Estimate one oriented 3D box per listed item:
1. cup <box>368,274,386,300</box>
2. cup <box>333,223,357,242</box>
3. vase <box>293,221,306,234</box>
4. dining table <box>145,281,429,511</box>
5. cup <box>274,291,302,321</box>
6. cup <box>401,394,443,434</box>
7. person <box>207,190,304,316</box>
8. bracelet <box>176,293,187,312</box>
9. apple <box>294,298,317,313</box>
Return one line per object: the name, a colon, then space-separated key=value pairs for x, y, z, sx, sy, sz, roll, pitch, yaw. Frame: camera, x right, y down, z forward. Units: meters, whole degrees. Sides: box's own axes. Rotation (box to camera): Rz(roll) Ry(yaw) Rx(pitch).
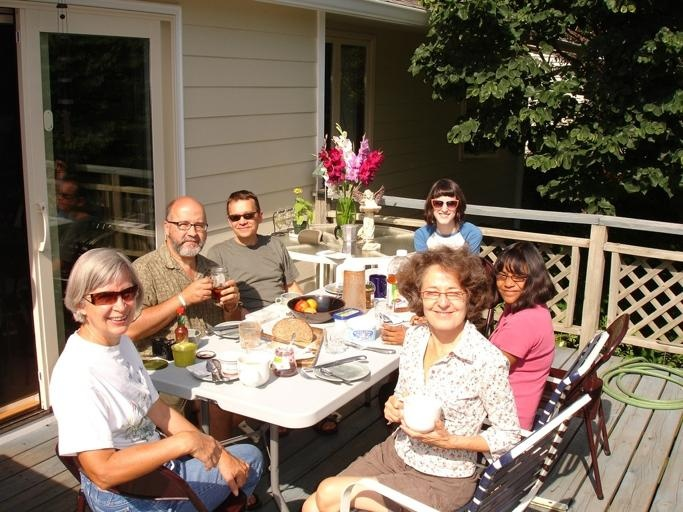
cup: x=0.277 y=0.220 z=3.585 sx=0.107 sy=0.165 sz=0.153 roll=2 pitch=4 yaw=20
cup: x=0.066 y=-0.218 z=4.527 sx=0.154 sy=0.176 sz=0.225 roll=-3 pitch=6 yaw=-29
vase: x=-0.435 y=-0.311 z=5.274 sx=0.113 sy=0.108 sz=0.128 roll=1 pitch=1 yaw=2
dining table: x=-0.186 y=0.609 z=2.412 sx=1.231 sy=0.353 sz=0.805 roll=18 pitch=29 yaw=36
cup: x=-0.389 y=0.345 z=3.385 sx=0.163 sy=0.124 sz=0.137 roll=2 pitch=20 yaw=27
cup: x=0.306 y=0.594 z=1.877 sx=0.118 sy=0.102 sz=0.137 roll=0 pitch=0 yaw=5
person: x=-0.683 y=-0.022 z=3.893 sx=0.713 sy=0.987 sz=0.643 roll=-8 pitch=3 yaw=-21
bracelet: x=-0.909 y=0.261 z=2.851 sx=0.035 sy=0.102 sz=0.070 roll=-6 pitch=4 yaw=-37
apple: x=-0.220 y=0.318 z=3.136 sx=0.093 sy=0.086 sz=0.087 roll=3 pitch=50 yaw=-6
